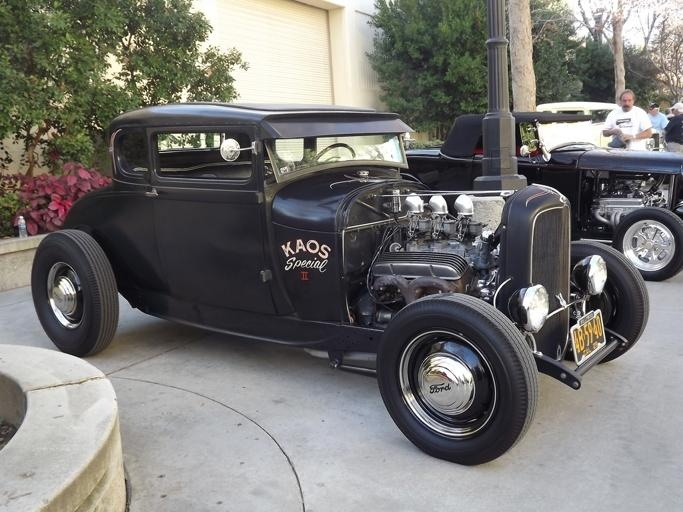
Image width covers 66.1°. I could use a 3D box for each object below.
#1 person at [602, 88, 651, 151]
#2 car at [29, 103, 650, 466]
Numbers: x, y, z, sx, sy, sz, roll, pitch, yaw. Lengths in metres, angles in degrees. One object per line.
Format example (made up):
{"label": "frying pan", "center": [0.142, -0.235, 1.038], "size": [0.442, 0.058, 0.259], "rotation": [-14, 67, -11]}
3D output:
{"label": "person", "center": [4.706, -2.084, 8.710], "size": [0.669, 1.295, 0.697], "rotation": [3, -1, 9]}
{"label": "car", "center": [-0.259, -0.050, 4.495], "size": [4.526, 2.126, 2.377], "rotation": [4, 12, 28]}
